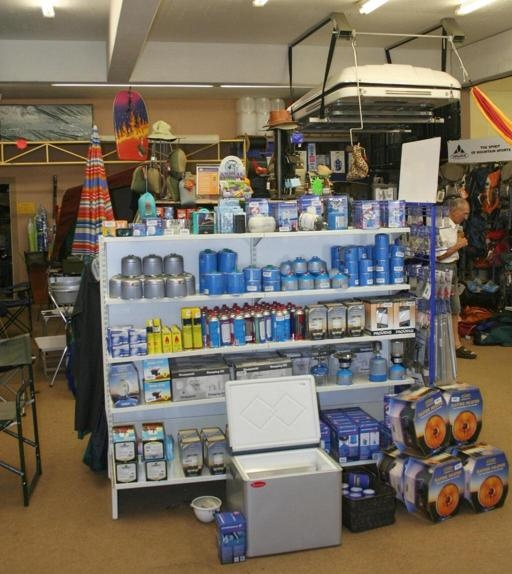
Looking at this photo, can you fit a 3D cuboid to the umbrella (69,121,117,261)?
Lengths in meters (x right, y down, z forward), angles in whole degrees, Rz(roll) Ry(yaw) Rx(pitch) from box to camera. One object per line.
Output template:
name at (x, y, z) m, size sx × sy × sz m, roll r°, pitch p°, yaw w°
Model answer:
umbrella at (-1.579, -0.911, 5.032) m, size 0.398 × 1.235 × 0.482 m, roll -4°, pitch 5°, yaw -16°

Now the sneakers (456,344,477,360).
sneakers at (2.373, 0.734, 6.095) m, size 0.118 × 0.119 × 0.321 m, roll -6°, pitch 8°, yaw -37°

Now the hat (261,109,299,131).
hat at (0.180, -1.208, 3.928) m, size 0.209 × 0.116 × 0.236 m, roll -10°, pitch 18°, yaw -14°

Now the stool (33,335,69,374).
stool at (-2.252, 0.653, 5.809) m, size 0.440 × 0.297 × 0.411 m, roll -3°, pitch 29°, yaw -21°

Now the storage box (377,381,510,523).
storage box at (1.052, 0.879, 2.959) m, size 0.587 × 0.656 × 0.438 m, roll -4°, pitch 5°, yaw -19°

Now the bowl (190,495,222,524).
bowl at (-0.269, 1.189, 2.877) m, size 0.169 × 0.105 × 0.236 m, roll -2°, pitch 5°, yaw -8°

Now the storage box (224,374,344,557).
storage box at (0.119, 0.862, 2.659) m, size 0.520 × 0.733 × 0.514 m, roll -3°, pitch 5°, yaw -9°

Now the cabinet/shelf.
cabinet/shelf at (-0.050, 0.489, 3.042) m, size 1.744 × 1.376 × 0.443 m, roll -2°, pitch -3°, yaw -15°

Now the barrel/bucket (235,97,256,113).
barrel/bucket at (-0.165, -3.071, 8.934) m, size 0.271 × 0.248 × 0.197 m, roll -2°, pitch 15°, yaw 2°

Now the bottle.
bottle at (-0.010, 0.223, 3.164) m, size 0.638 × 0.217 × 0.162 m, roll -3°, pitch 5°, yaw -17°
